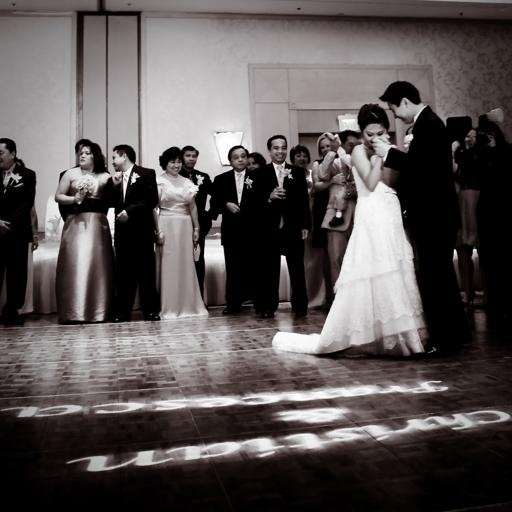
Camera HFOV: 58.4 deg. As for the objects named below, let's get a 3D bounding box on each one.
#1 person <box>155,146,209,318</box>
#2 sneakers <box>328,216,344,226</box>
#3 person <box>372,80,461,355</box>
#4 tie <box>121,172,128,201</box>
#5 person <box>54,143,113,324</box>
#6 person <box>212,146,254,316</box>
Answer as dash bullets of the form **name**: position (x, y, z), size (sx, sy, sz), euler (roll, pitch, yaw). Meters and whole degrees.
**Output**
- **person**: position (-0.740, -0.225, 4.479), size (0.449, 1.650, 0.215), euler (-1, -1, -12)
- **sneakers**: position (0.767, -0.324, 4.407), size (0.100, 0.122, 0.084), euler (-8, 15, 25)
- **person**: position (0.915, -0.224, 2.504), size (0.404, 1.489, 0.213), euler (-2, -2, 28)
- **tie**: position (-1.198, -0.647, 4.182), size (0.060, 0.274, 0.062), euler (-1, -1, 14)
- **person**: position (-1.518, -0.214, 4.053), size (0.487, 1.625, 0.225), euler (0, -2, -22)
- **person**: position (-0.219, -0.251, 4.466), size (0.408, 1.649, 0.220), euler (-1, -1, -3)
